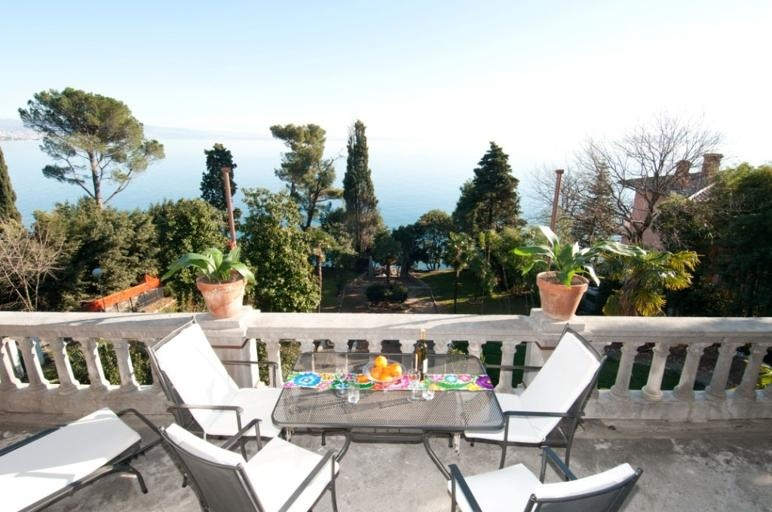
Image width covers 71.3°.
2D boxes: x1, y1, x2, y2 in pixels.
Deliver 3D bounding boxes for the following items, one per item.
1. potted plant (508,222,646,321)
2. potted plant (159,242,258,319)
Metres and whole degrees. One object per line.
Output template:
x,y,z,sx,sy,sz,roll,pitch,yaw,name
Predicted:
6.388,0.617,18.956,3.598,3.170,1.098,-1,18,-10,potted plant
-5.905,0.907,19.071,2.364,2.481,0.966,-1,18,-9,potted plant
